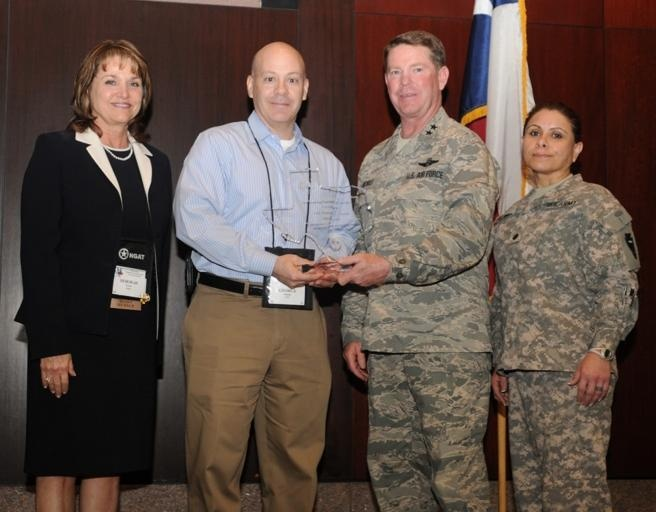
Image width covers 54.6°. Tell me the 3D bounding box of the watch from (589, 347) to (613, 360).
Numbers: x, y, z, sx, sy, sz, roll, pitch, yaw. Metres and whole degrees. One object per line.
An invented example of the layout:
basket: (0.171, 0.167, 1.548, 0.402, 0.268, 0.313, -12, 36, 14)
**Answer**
watch: (1.198, 0.421, 2.798, 0.061, 0.027, 0.061, 13, -9, -37)

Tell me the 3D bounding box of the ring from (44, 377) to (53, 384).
ring: (-1.224, 0.546, 2.785, 0.029, 0.030, 0.029, 2, -5, 0)

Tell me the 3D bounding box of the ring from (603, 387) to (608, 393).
ring: (1.226, 0.600, 2.823, 0.017, 0.025, 0.007, -4, 21, -9)
